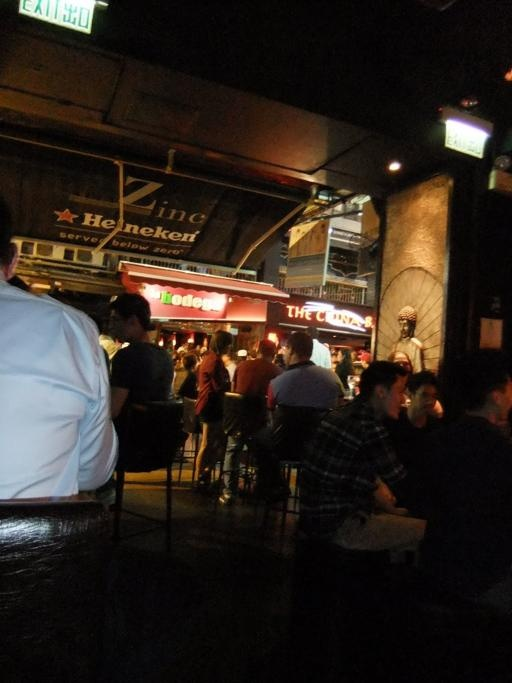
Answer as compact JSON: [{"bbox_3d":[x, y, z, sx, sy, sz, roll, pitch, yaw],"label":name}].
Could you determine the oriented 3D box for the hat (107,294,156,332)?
[{"bbox_3d":[-0.784,-0.191,3.531,0.273,0.236,0.199,-10,9,-23],"label":"hat"}]

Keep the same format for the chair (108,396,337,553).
[{"bbox_3d":[-0.326,0.826,3.995,0.906,1.613,1.052,6,-8,-43],"label":"chair"}]

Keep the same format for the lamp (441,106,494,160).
[{"bbox_3d":[1.481,-1.469,3.911,0.482,0.289,0.105,13,9,-31],"label":"lamp"}]
